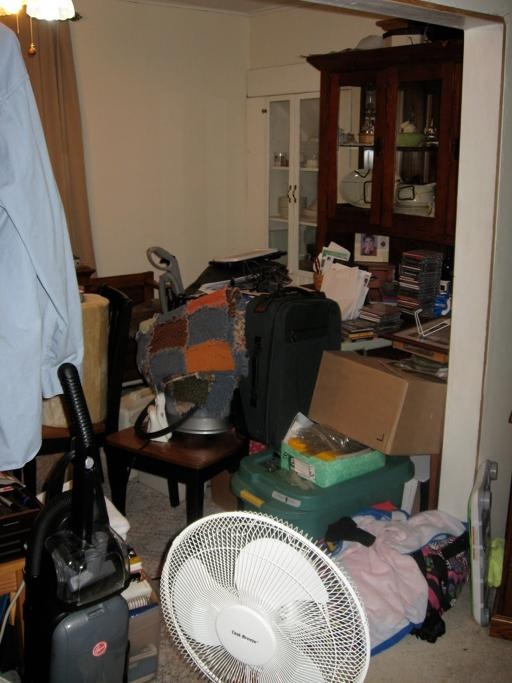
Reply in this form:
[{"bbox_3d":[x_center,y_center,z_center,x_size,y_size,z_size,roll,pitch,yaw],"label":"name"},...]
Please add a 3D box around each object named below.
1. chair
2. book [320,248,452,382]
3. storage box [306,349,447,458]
[{"bbox_3d":[-0.734,0.257,2.191,0.458,0.912,0.565,-11,20,-33],"label":"chair"},{"bbox_3d":[0.770,-0.133,2.597,0.561,0.600,0.134,3,1,-33],"label":"book"},{"bbox_3d":[0.451,0.226,2.037,0.393,0.286,0.403,26,7,42],"label":"storage box"}]
